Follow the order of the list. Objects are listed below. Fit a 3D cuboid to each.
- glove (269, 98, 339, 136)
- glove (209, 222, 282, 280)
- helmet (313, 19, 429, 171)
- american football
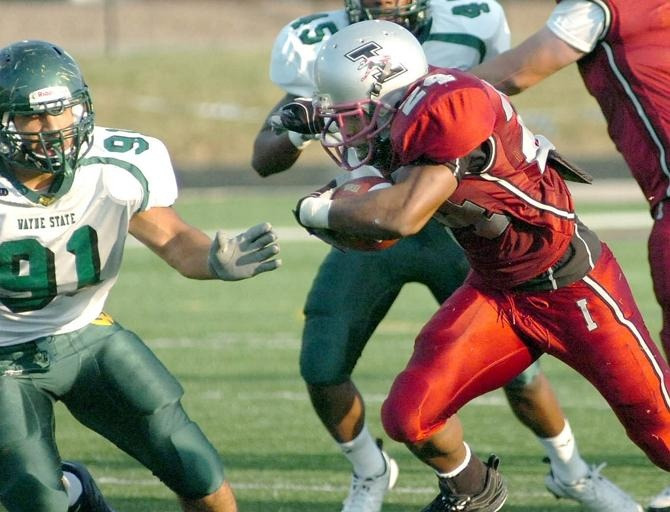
[{"bbox_3d":[-0.091,-0.472,3.371,0.166,0.099,0.227,14,-12,-35],"label":"glove"},{"bbox_3d":[-0.279,-0.014,2.998,0.212,0.172,0.203,-3,13,-8],"label":"glove"},{"bbox_3d":[0.112,-0.505,3.125,0.362,0.460,0.276,-1,14,4],"label":"helmet"},{"bbox_3d":[0.088,-0.125,3.126,0.289,0.140,0.205,-16,4,-12],"label":"american football"}]
